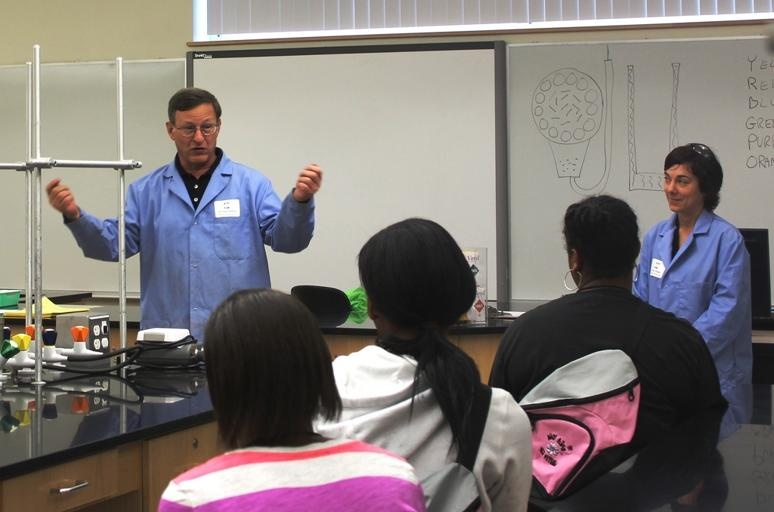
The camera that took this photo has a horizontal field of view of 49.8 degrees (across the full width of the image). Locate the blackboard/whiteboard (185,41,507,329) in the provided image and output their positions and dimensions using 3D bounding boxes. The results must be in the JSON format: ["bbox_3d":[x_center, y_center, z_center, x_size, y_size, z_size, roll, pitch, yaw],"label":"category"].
[{"bbox_3d":[-0.150,-0.473,4.992,1.625,2.046,0.071,-1,1,2],"label":"blackboard/whiteboard"}]

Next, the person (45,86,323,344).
[{"bbox_3d":[-1.077,-0.282,4.688,1.379,2.217,0.844,-1,-6,-7],"label":"person"}]

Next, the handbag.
[{"bbox_3d":[0.750,0.629,3.114,0.497,0.375,0.185,-43,-36,7],"label":"handbag"}]

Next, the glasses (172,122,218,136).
[{"bbox_3d":[-0.941,-0.619,4.120,0.188,0.058,0.049,-4,4,-15],"label":"glasses"}]

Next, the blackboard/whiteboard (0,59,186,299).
[{"bbox_3d":[-1.813,-0.510,5.259,1.507,1.810,0.038,0,-2,4],"label":"blackboard/whiteboard"}]
